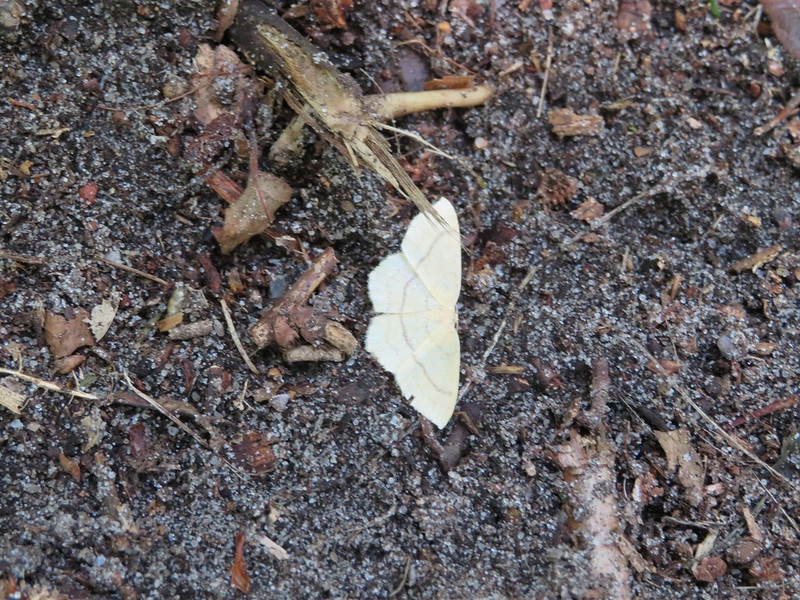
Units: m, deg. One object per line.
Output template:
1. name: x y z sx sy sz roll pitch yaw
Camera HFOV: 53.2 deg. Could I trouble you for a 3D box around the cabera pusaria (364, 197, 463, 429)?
1. cabera pusaria: 0.067 0.076 4.099 0.474 0.115 1.108 2 84 0
